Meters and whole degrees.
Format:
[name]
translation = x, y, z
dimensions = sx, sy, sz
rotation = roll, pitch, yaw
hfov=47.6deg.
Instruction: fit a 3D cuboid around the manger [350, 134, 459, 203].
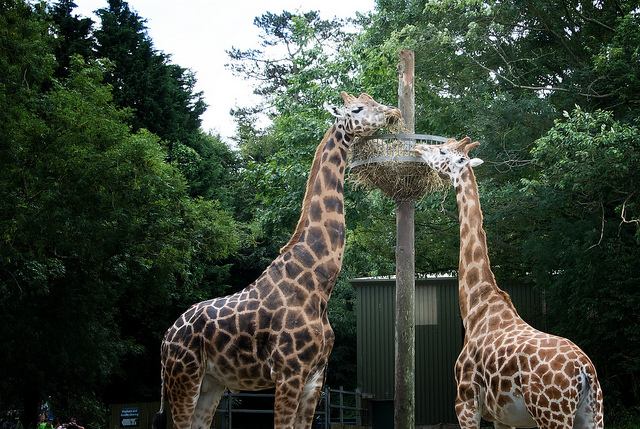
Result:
[manger]
translation = 1.844, -1.152, 15.792
dimensions = 1.758, 1.316, 1.899
rotation = -7, -14, 28
